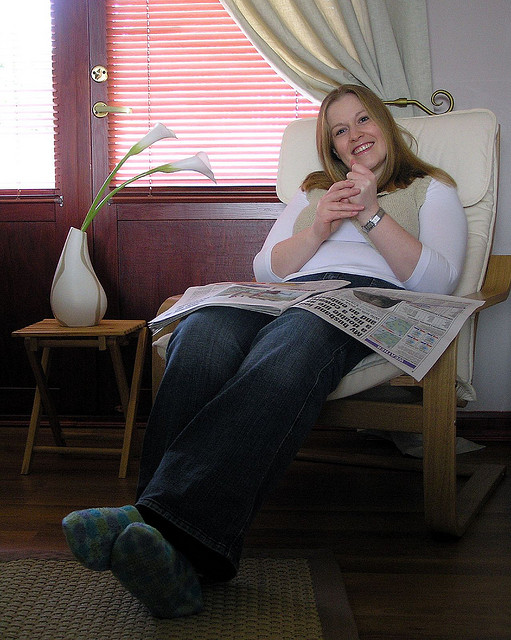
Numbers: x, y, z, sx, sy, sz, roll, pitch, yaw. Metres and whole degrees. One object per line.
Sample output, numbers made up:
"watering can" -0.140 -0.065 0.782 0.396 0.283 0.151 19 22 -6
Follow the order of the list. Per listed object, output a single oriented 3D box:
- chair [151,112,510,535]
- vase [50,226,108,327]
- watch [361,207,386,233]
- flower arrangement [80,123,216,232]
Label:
"chair" 0.136 -0.076 1.674 0.866 1.047 1.146 1 2 32
"vase" -0.508 -0.119 1.572 0.149 0.280 0.096 1 -1 -17
"watch" 0.245 -0.208 1.146 0.042 0.042 0.024 -37 77 -27
"flower arrangement" -0.301 -0.407 1.662 0.363 0.310 0.242 0 -1 11
